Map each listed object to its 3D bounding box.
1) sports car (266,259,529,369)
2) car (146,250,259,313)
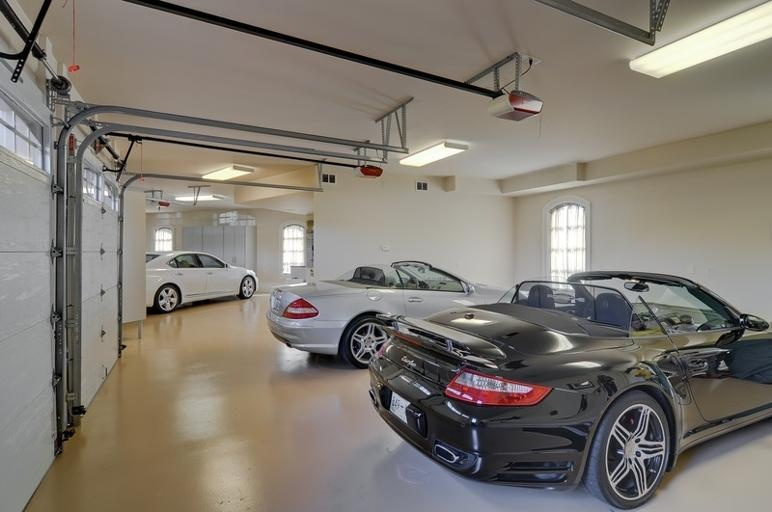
[{"bbox_3d":[0.097,0.667,6.078,3.236,0.940,1.449,-5,1,-24],"label":"sports car"},{"bbox_3d":[-4.337,0.550,10.127,1.099,0.819,2.697,0,1,39],"label":"car"}]
